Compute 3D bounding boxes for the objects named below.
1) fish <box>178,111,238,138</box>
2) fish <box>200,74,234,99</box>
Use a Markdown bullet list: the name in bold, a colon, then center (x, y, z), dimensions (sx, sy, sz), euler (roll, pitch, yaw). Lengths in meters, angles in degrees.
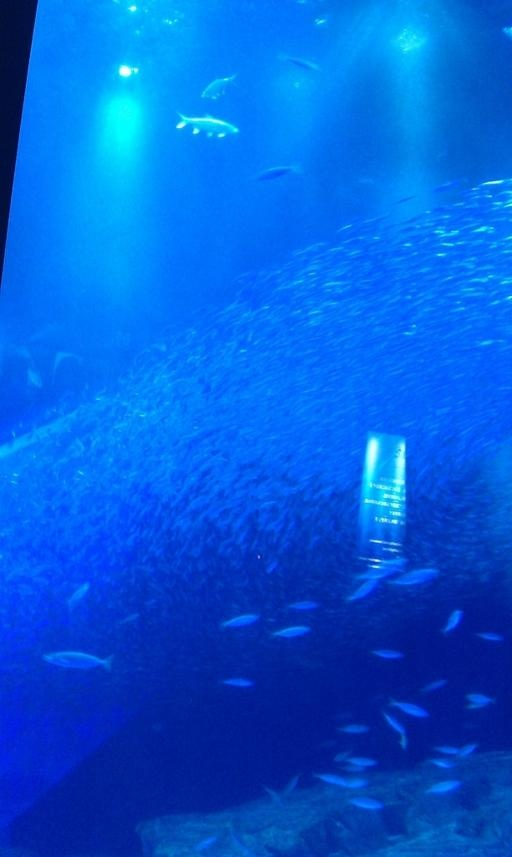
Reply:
- **fish**: center (-0.324, -2.103, 5.086), dimensions (0.437, 0.187, 0.458), euler (-3, 8, -5)
- **fish**: center (-0.240, -2.386, 5.166), dimensions (0.218, 0.158, 0.258), euler (-6, 9, -24)
